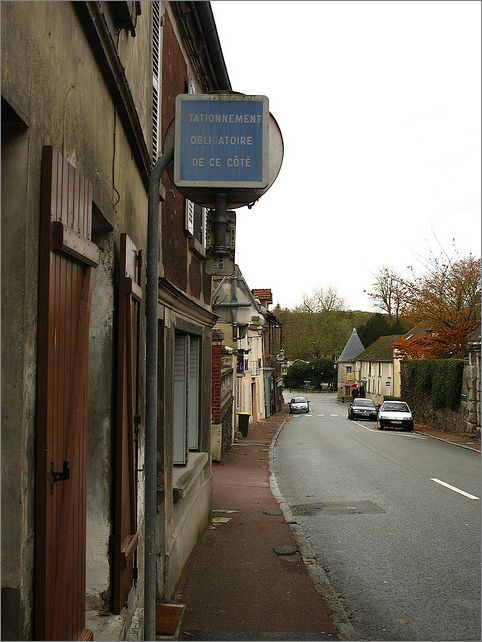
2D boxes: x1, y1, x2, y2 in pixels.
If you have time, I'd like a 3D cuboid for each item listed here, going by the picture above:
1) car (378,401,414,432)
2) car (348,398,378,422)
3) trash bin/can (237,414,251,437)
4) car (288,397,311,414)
[{"bbox_3d":[7.272,4.406,31.736,0.806,1.290,2.132,-1,-16,6],"label":"car"},{"bbox_3d":[7.397,5.419,40.652,1.620,1.219,1.998,0,-5,10],"label":"car"},{"bbox_3d":[0.062,3.956,25.215,0.423,0.930,0.866,0,-4,-3],"label":"trash bin/can"},{"bbox_3d":[4.354,6.328,49.744,1.470,1.102,2.883,0,-5,3],"label":"car"}]
